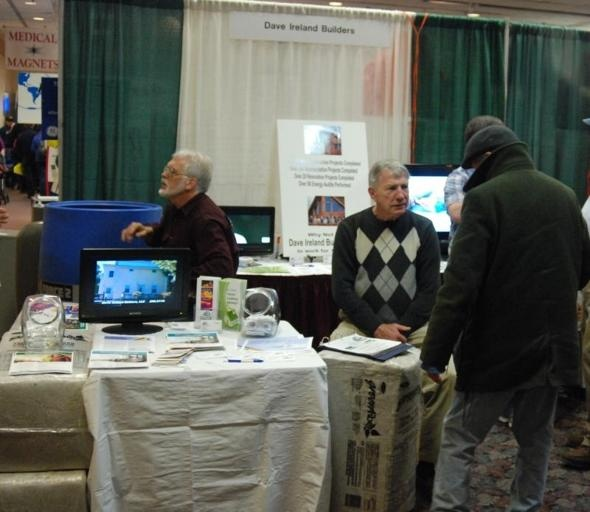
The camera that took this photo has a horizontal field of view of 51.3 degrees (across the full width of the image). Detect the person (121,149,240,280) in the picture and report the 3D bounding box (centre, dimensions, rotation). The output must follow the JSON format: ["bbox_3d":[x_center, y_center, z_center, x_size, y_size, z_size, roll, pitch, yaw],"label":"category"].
[{"bbox_3d":[-0.688,-0.207,3.610,0.572,1.163,0.659,4,3,-12],"label":"person"}]

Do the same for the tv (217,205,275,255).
[{"bbox_3d":[-0.401,-0.188,4.761,0.538,0.515,0.304,0,2,-11],"label":"tv"}]

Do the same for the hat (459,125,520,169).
[{"bbox_3d":[0.808,-0.427,2.543,0.197,0.137,0.152,-25,-4,27],"label":"hat"}]

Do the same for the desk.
[{"bbox_3d":[0.257,0.268,3.278,0.576,0.549,0.774,0,-2,-4],"label":"desk"}]
